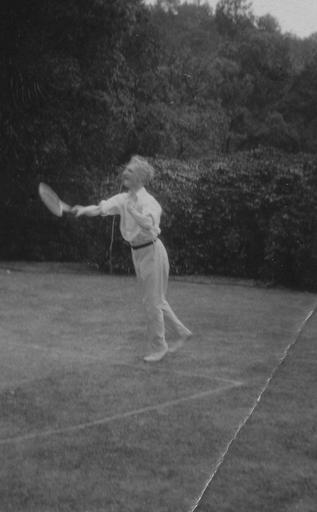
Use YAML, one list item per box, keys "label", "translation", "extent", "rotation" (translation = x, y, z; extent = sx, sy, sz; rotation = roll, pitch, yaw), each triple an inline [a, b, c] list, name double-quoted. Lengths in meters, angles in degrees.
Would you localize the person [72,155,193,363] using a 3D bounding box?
- label: "person"
  translation: [-0.051, 0.042, 3.622]
  extent: [0.563, 1.311, 0.523]
  rotation: [4, -7, -19]
